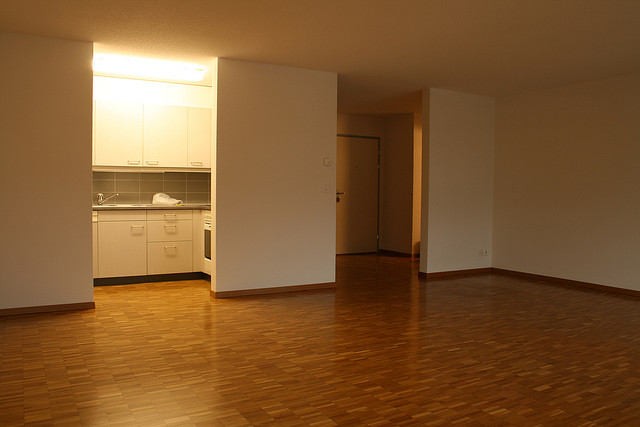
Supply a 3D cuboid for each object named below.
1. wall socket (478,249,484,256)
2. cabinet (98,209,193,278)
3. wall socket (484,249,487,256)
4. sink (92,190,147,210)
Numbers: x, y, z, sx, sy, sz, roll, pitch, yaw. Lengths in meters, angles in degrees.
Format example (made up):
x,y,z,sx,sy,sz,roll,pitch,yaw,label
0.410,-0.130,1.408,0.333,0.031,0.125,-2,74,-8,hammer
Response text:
x,y,z,sx,sy,sz,roll,pitch,yaw,label
3.019,0.733,8.517,0.147,0.134,0.019,-1,-1,-26,wall socket
-2.826,0.491,7.732,1.647,1.116,0.855,-2,-2,-2,cabinet
3.133,0.731,8.577,0.085,0.102,0.021,-7,11,-41,wall socket
-3.318,-0.227,7.439,0.694,0.257,0.807,-3,9,-21,sink
